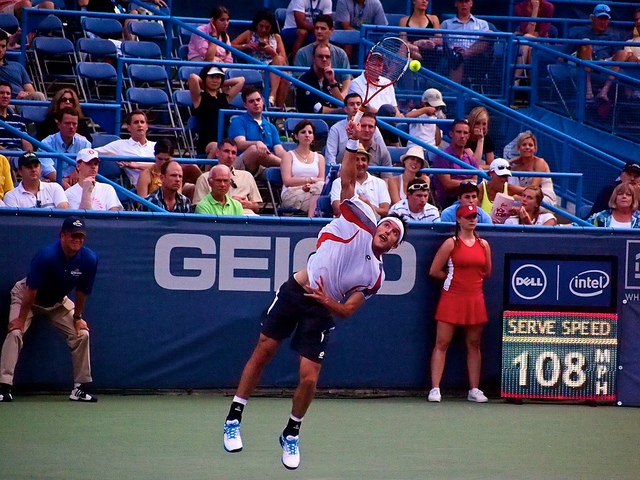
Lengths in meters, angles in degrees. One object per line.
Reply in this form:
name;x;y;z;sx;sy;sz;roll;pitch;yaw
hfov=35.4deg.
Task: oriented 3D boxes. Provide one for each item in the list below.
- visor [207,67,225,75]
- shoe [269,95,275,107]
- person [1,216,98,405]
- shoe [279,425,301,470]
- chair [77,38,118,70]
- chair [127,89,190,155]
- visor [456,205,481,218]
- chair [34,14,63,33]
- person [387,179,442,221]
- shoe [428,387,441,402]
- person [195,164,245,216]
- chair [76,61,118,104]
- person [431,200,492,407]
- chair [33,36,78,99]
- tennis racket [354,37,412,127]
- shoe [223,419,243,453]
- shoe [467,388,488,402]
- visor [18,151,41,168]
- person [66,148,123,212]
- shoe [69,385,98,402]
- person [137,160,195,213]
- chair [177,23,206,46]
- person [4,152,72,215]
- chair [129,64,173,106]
visor;-1.579;-2.499;14.922;0.168;0.082;0.246;2;11;-21
shoe;-0.793;-2.220;16.112;0.082;0.196;0.245;1;4;-2
person;-3.151;0.808;11.663;1.059;2.144;0.580;0;4;-15
shoe;-0.312;2.083;10.036;0.135;0.375;0.158;-2;-35;-12
chair;-3.825;-3.107;16.873;0.682;0.636;0.548;-2;11;-28
chair;-2.595;-1.927;16.165;0.845;1.452;1.161;-5;7;-29
visor;1.785;-0.350;12.268;0.257;0.153;0.189;2;4;10
chair;-4.663;-3.701;17.270;0.414;0.267;0.724;2;4;9
person;1.225;-0.469;12.946;0.740;0.583;0.412;4;8;-8
shoe;1.393;1.885;12.264;0.126;0.125;0.295;2;-11;2
person;-1.294;-0.617;12.876;0.750;0.788;0.447;0;1;-22
chair;-3.609;-2.510;16.288;0.679;0.758;0.542;2;-3;12
person;1.746;0.770;12.320;0.755;2.431;0.465;1;4;-2
chair;-4.375;-2.840;16.674;0.739;0.795;0.973;-17;38;-6
tennis racket;0.791;-2.035;11.981;0.539;0.153;1.953;12;47;16
shoe;-0.892;1.966;10.129;0.141;0.161;0.373;-6;29;-7
shoe;1.928;1.904;12.367;0.113;0.119;0.263;4;-6;-41
visor;-3.599;-0.979;12.314;0.238;0.179;0.289;0;4;-19
person;-2.804;-0.748;12.481;0.670;0.741;0.893;0;4;-20
shoe;-2.797;1.819;11.857;0.396;0.239;0.138;2;-3;-3
person;-1.945;-0.649;12.802;0.827;0.687;0.480;3;0;-38
chair;-2.377;-3.653;17.684;0.389;0.447;0.633;-1;0;-16
person;-3.422;-0.686;12.126;0.795;0.729;0.847;0;4;-18
chair;-2.854;-2.589;16.534;0.696;0.942;0.699;0;2;-17
